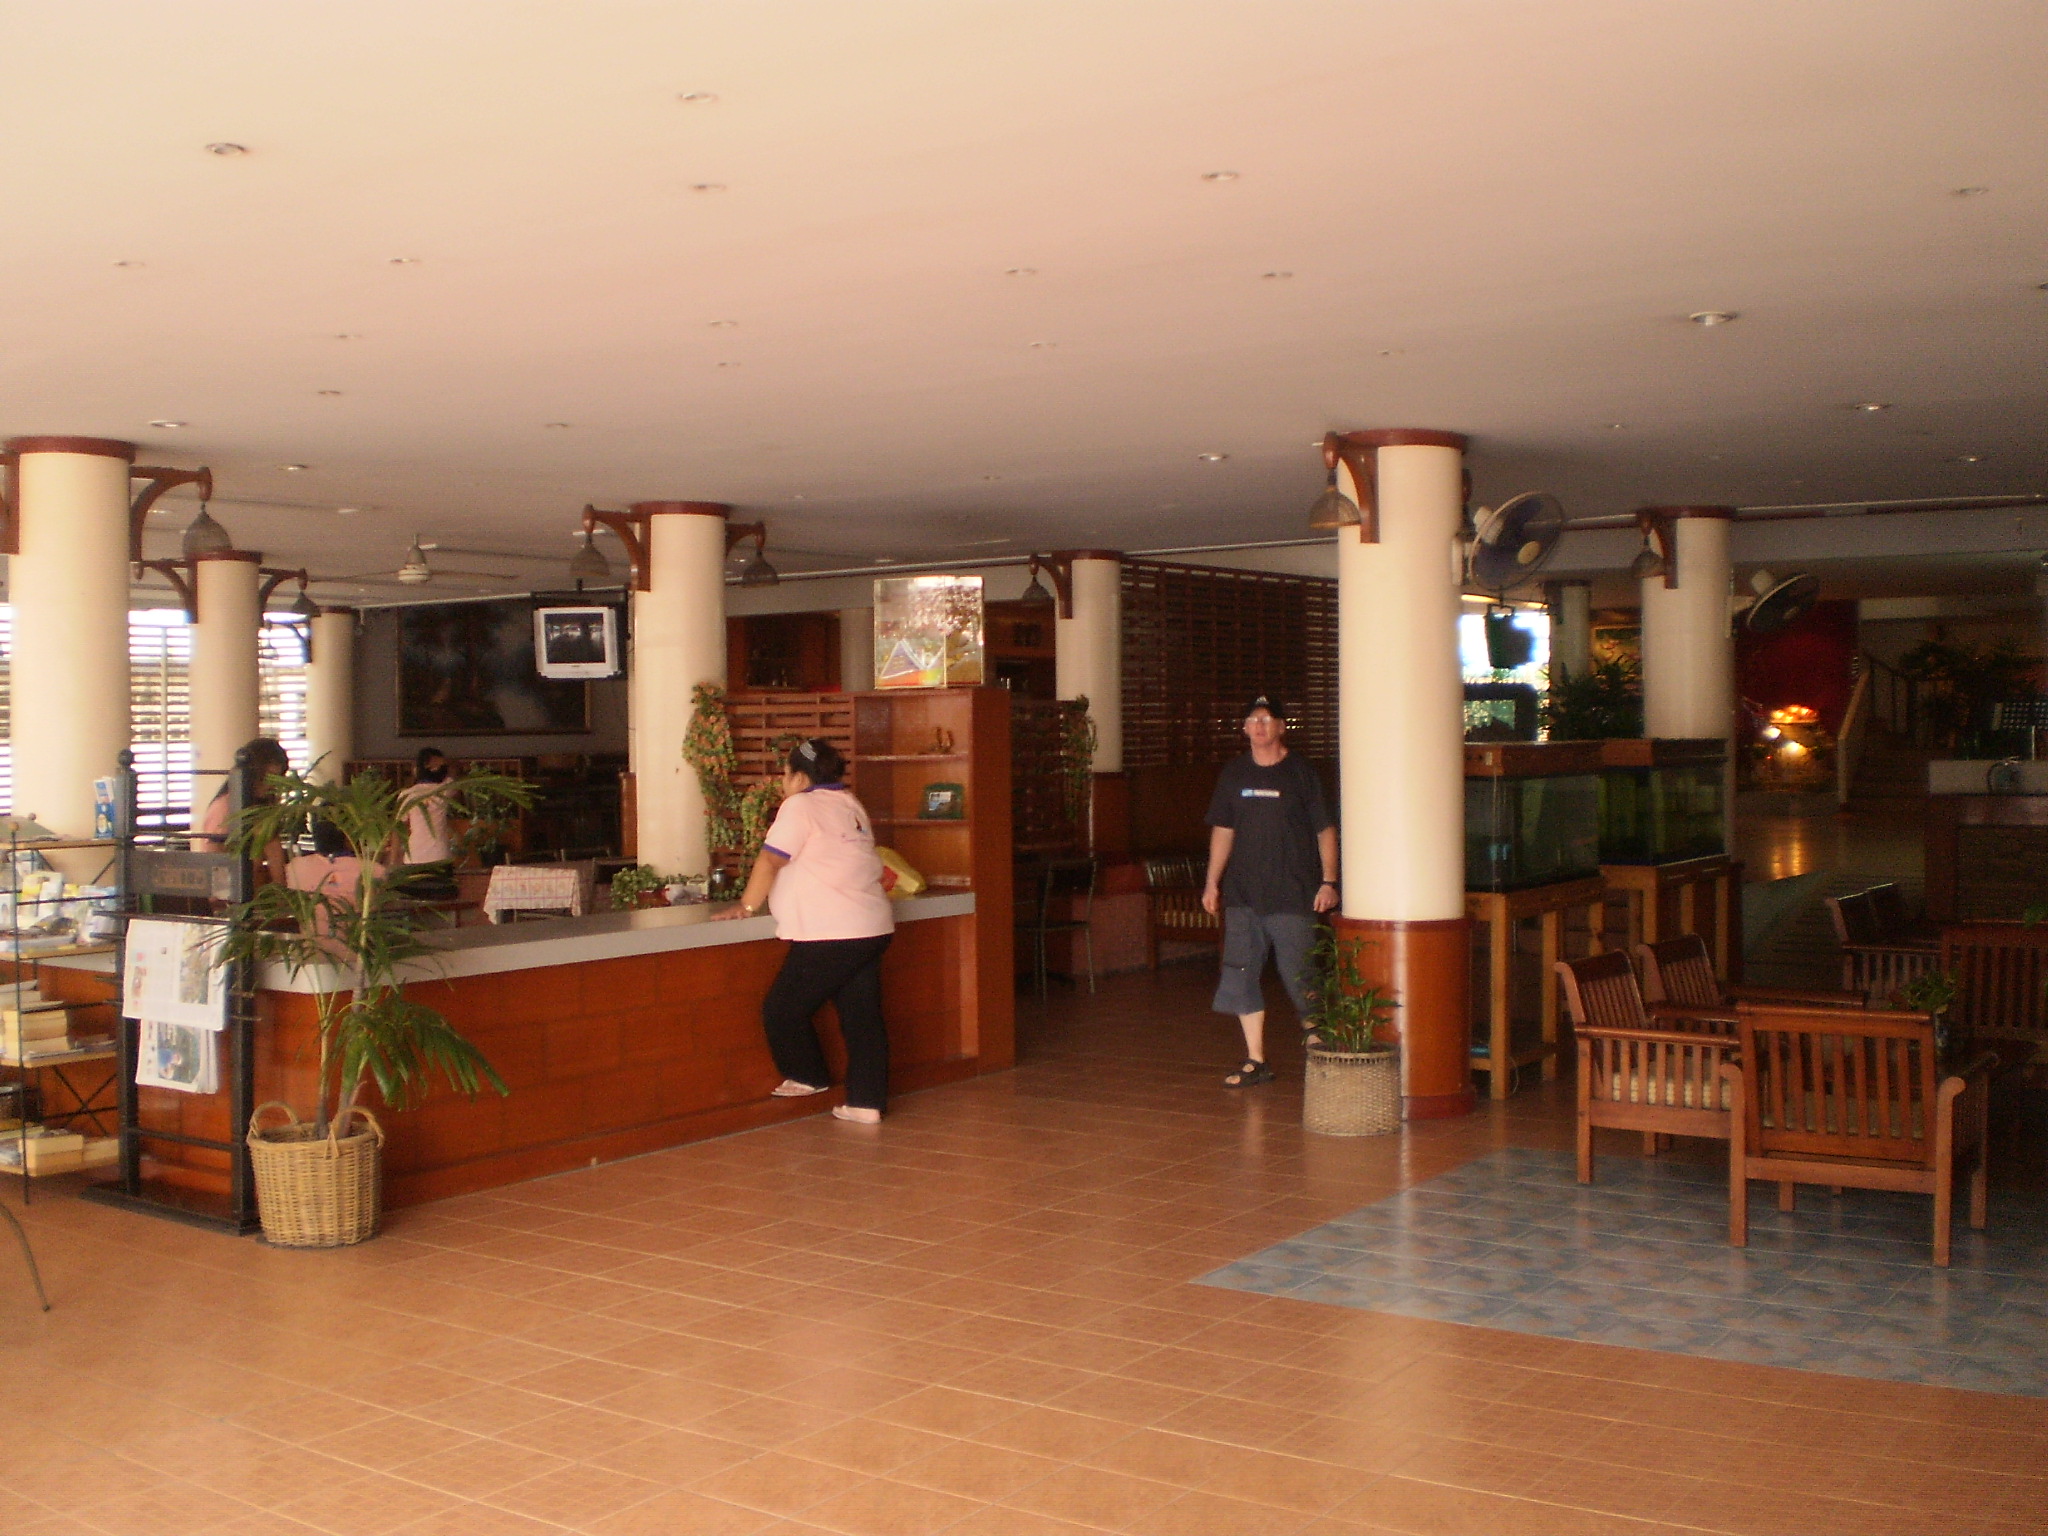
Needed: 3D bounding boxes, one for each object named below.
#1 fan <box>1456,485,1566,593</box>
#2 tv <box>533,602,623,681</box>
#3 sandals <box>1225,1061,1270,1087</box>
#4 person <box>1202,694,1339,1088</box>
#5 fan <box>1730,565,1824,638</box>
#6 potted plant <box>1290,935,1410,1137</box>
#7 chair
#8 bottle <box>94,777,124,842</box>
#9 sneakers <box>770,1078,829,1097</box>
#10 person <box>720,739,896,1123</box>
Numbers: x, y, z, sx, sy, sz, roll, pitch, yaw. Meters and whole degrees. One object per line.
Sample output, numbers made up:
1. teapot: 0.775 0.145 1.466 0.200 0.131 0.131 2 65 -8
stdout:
1. fan: 2.625 -1.237 8.879 0.436 0.515 0.773 0 4 21
2. tv: -3.499 -1.021 12.838 0.498 0.554 0.842 -5 5 -40
3. sandals: 1.248 1.682 9.099 0.130 0.077 0.247 -5 -8 34
4. person: 1.319 0.691 8.809 0.686 2.128 1.237 -1 4 7
5. fan: 6.155 -1.365 13.525 0.609 0.485 0.731 0 4 20
6. potted plant: 1.634 1.324 8.190 0.467 0.896 0.701 -1 4 11
7. chair: 3.221 1.298 6.670 1.635 0.752 1.213 -2 3 -42
8. bottle: -4.429 0.191 7.941 0.106 0.300 0.397 6 -2 -37
9. sneakers: -1.114 1.615 8.351 0.326 0.098 0.103 -3 1 14
10. person: -1.049 0.817 8.280 0.718 1.910 0.531 -2 5 -3
